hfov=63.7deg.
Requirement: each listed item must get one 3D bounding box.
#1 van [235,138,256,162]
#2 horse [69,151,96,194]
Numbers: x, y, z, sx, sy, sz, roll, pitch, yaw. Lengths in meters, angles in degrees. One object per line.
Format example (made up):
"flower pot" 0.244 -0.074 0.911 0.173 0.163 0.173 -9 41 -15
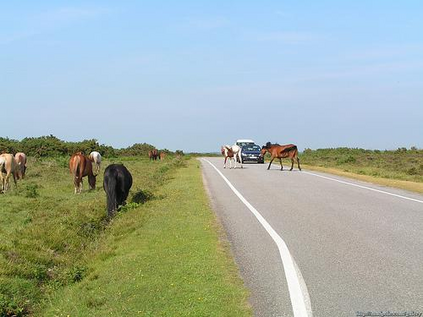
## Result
"van" 4.193 -1.219 42.440 2.507 2.573 4.500 0 -9 -6
"horse" -7.678 0.828 20.078 0.939 2.298 1.750 -2 8 10
